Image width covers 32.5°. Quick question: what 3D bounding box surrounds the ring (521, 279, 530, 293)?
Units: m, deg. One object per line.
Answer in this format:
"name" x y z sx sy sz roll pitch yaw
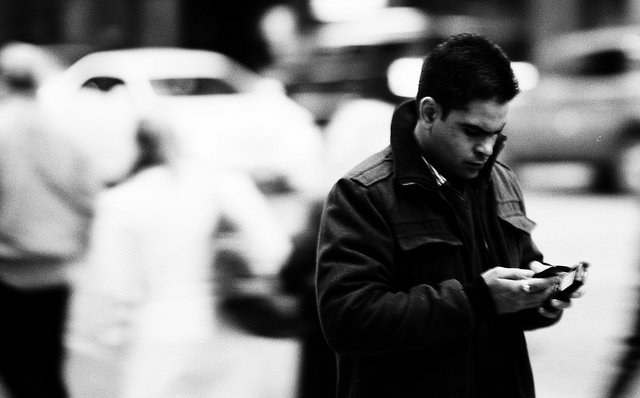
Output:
"ring" 1.163 0.497 6.269 0.049 0.060 0.023 -6 -6 5
